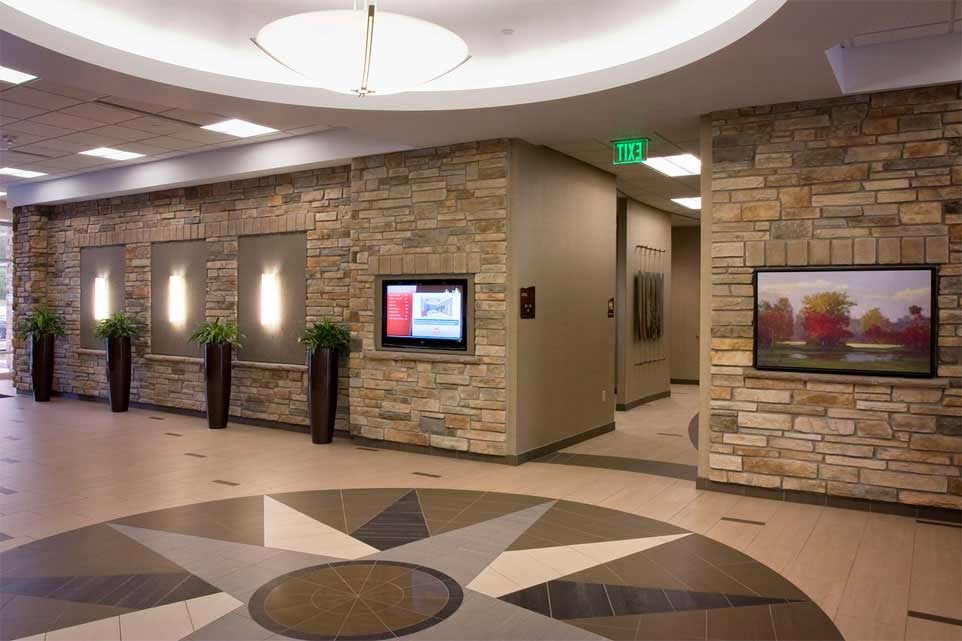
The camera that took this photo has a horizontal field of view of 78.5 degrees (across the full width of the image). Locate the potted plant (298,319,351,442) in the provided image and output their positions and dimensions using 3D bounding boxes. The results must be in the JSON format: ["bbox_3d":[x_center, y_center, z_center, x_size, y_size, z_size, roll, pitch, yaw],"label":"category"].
[{"bbox_3d":[-2.198,0.868,8.425,0.626,1.736,0.376,-2,5,-30],"label":"potted plant"}]

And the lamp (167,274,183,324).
[{"bbox_3d":[-5.312,-0.385,10.348,0.392,0.901,0.128,4,5,34],"label":"lamp"}]

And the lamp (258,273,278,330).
[{"bbox_3d":[-3.325,-0.339,9.329,0.385,0.859,0.106,2,5,20],"label":"lamp"}]

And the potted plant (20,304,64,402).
[{"bbox_3d":[-8.637,0.665,11.631,0.651,1.747,0.827,-3,6,-36],"label":"potted plant"}]

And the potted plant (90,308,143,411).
[{"bbox_3d":[-6.498,0.752,10.627,0.647,1.712,0.469,0,5,-14],"label":"potted plant"}]

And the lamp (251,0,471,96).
[{"bbox_3d":[-0.918,-2.161,4.684,1.044,0.503,1.008,2,-3,-36],"label":"lamp"}]

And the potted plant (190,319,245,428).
[{"bbox_3d":[-4.151,0.848,9.290,0.509,1.656,0.383,-1,5,-20],"label":"potted plant"}]
